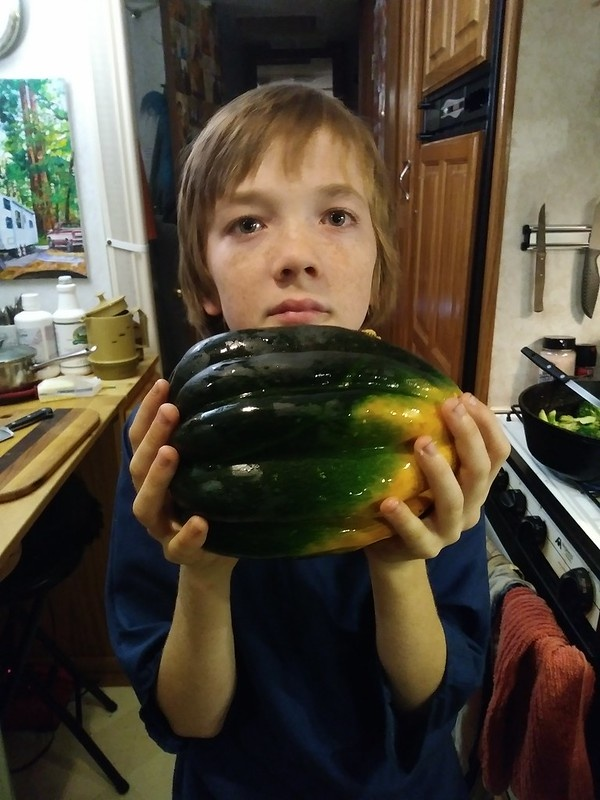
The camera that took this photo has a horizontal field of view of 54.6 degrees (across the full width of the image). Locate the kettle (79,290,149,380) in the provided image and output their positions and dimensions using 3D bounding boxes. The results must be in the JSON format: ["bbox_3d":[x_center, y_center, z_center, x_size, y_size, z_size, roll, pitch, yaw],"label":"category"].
[{"bbox_3d":[-0.593,-0.217,1.963,0.278,0.306,0.210,3,17,0],"label":"kettle"}]

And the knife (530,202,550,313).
[{"bbox_3d":[0.670,-0.393,1.616,0.051,0.291,0.012,6,-1,17],"label":"knife"}]

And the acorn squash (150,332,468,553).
[{"bbox_3d":[0.000,0.048,0.667,0.299,0.214,0.186,-2,-13,-5],"label":"acorn squash"}]
